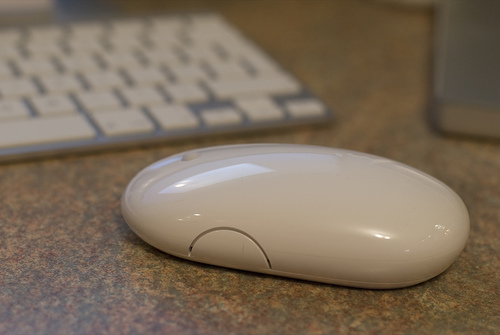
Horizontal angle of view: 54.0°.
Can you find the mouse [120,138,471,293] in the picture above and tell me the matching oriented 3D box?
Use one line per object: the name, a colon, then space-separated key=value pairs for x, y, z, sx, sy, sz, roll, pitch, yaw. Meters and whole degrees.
mouse: x=0.043 y=0.039 z=0.458 sx=0.322 sy=0.067 sz=0.143 roll=11 pitch=51 yaw=12
